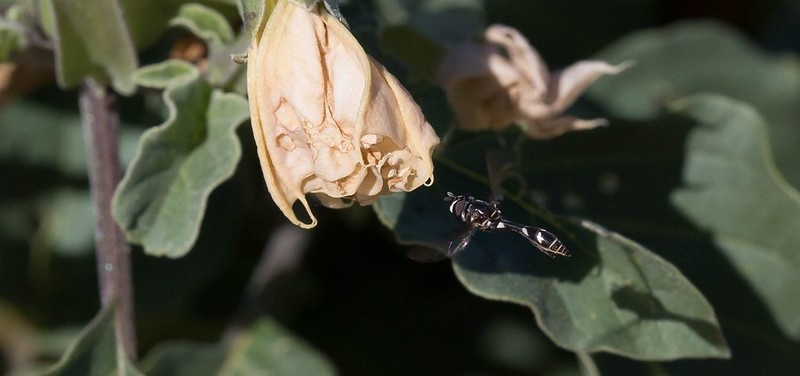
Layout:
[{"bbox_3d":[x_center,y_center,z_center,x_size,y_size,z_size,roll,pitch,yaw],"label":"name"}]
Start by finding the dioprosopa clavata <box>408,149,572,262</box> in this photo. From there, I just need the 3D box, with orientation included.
[{"bbox_3d":[0.115,0.037,1.041,0.164,0.096,0.194,4,12,-12],"label":"dioprosopa clavata"}]
